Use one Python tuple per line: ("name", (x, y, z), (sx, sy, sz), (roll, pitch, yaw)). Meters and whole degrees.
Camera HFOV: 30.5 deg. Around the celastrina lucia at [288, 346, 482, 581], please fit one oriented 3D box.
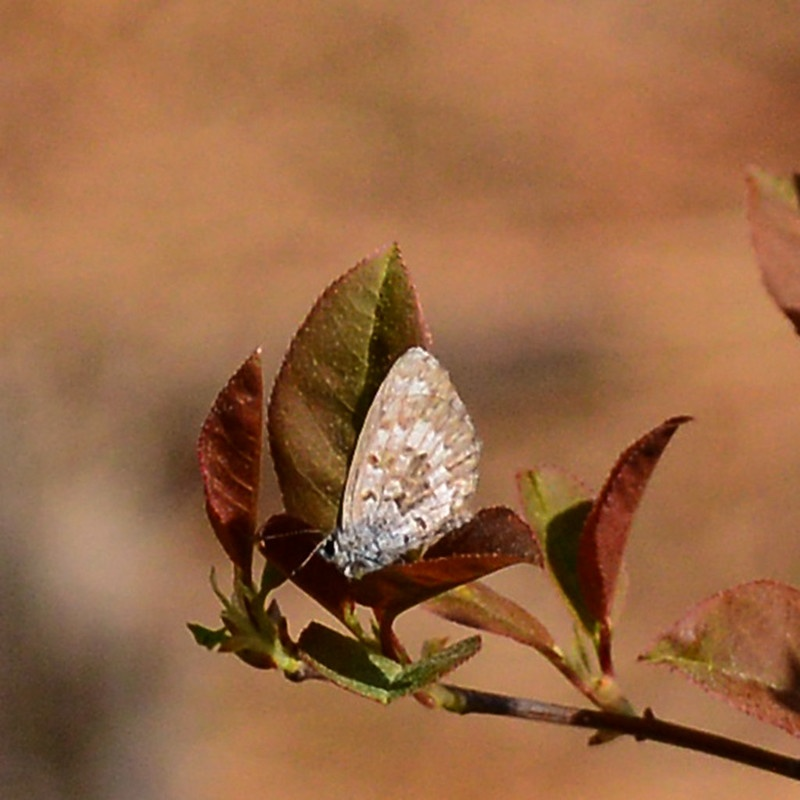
("celastrina lucia", (-0.038, 0.132, 1.776), (0.188, 0.360, 0.177), (4, 60, -34))
